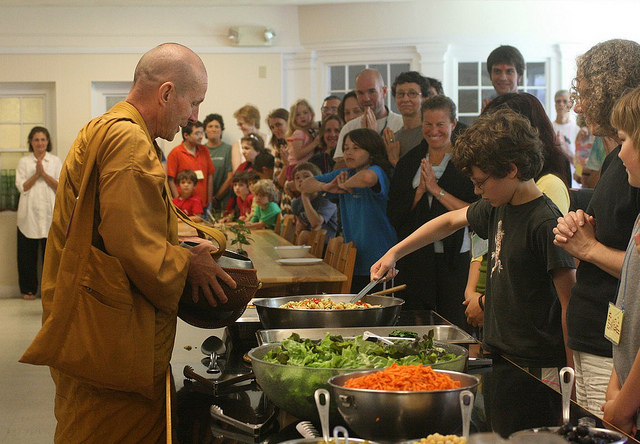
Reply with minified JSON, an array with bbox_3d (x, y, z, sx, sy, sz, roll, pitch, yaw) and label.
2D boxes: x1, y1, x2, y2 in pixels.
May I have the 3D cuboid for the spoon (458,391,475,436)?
[{"bbox_3d":[0.351,0.463,1.442,0.035,0.139,0.122,-1,3,14],"label":"spoon"}]

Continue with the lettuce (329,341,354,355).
[{"bbox_3d":[0.066,0.364,1.761,0.052,0.025,0.091,0,3,33],"label":"lettuce"}]

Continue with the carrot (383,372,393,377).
[{"bbox_3d":[0.167,0.373,1.475,0.029,0.006,0.016,-3,3,-24],"label":"carrot"}]

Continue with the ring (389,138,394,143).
[{"bbox_3d":[0.487,-0.551,4.071,0.018,0.027,0.028,4,1,44],"label":"ring"}]

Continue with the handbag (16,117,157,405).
[{"bbox_3d":[-0.764,0.130,1.971,0.417,0.928,0.126,-2,4,-2],"label":"handbag"}]

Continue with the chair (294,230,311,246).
[{"bbox_3d":[-0.164,0.155,5.571,0.138,0.213,0.125,7,-11,-5],"label":"chair"}]

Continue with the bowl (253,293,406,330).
[{"bbox_3d":[0.036,0.331,2.187,0.544,0.100,0.343,-2,3,-8],"label":"bowl"}]

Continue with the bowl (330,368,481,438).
[{"bbox_3d":[0.210,0.440,1.463,0.363,0.150,0.191,-3,3,-12],"label":"bowl"}]

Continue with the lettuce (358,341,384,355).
[{"bbox_3d":[0.145,0.358,1.707,0.072,0.023,0.069,-2,3,4],"label":"lettuce"}]
